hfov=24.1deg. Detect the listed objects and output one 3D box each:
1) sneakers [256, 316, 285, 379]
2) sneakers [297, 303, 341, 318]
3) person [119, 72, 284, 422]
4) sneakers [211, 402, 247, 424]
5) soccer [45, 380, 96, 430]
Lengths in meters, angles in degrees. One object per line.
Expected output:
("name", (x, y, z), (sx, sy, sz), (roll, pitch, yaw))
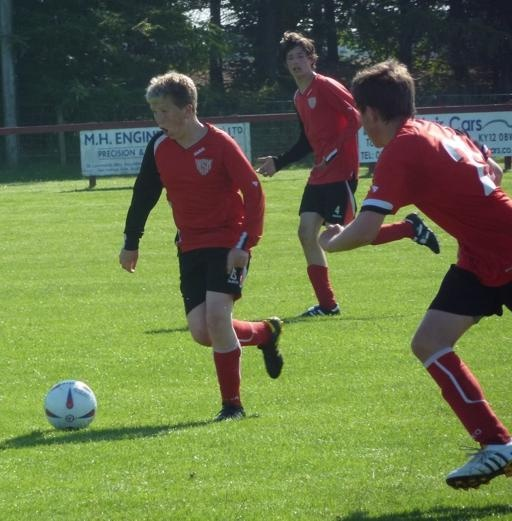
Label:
("sneakers", (0.126, 0.663, 9.164), (0.148, 0.477, 0.204), (-5, -3, 4))
("sneakers", (0.594, 0.475, 10.885), (0.369, 0.168, 0.132), (3, -20, 1))
("person", (-0.380, -0.157, 8.571), (1.068, 2.336, 0.598), (9, 15, 43))
("sneakers", (-0.171, 1.065, 8.278), (0.246, 0.112, 0.084), (4, -12, -31))
("soccer", (-1.265, 0.973, 8.345), (0.310, 0.324, 0.317), (7, 14, 3))
